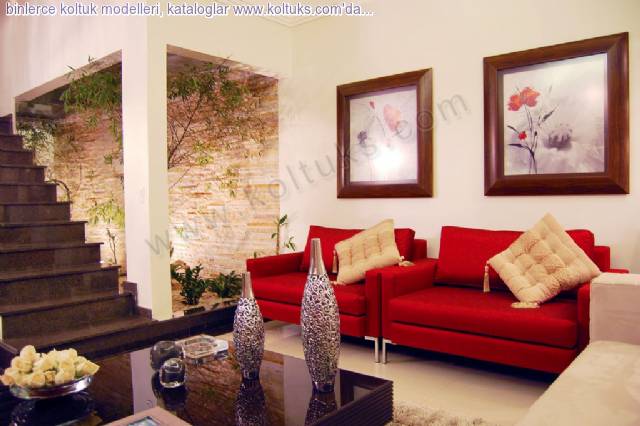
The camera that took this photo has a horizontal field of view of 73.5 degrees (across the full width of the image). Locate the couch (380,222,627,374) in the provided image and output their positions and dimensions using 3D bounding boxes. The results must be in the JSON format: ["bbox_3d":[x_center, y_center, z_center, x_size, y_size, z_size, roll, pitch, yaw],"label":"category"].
[{"bbox_3d":[1.632,0.853,4.034,1.953,1.331,1.320,-1,-1,34],"label":"couch"}]

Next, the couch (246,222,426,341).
[{"bbox_3d":[0.210,0.765,4.799,1.847,1.123,1.252,-1,-2,35],"label":"couch"}]

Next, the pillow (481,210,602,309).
[{"bbox_3d":[1.932,0.446,3.734,0.209,0.777,0.761,37,18,-43],"label":"pillow"}]
